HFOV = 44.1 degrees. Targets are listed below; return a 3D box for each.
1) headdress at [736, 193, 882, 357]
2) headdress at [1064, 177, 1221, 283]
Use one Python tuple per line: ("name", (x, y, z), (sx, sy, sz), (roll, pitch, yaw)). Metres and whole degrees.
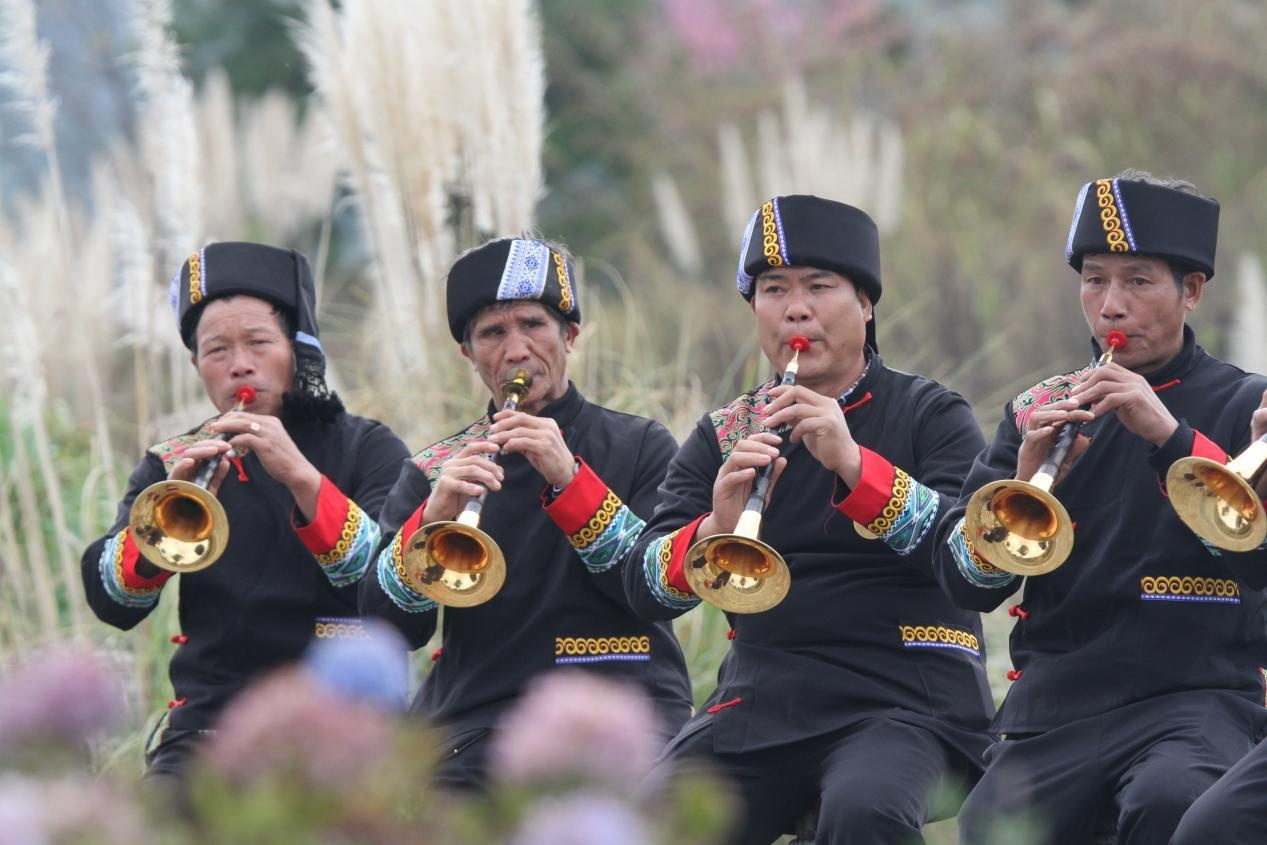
("headdress", (0.695, -0.643, 6.918), (0.751, 0.602, 0.638), (4, -9, -31))
("headdress", (2.067, -0.780, 6.430), (0.538, 0.279, 0.429), (18, -12, -15))
